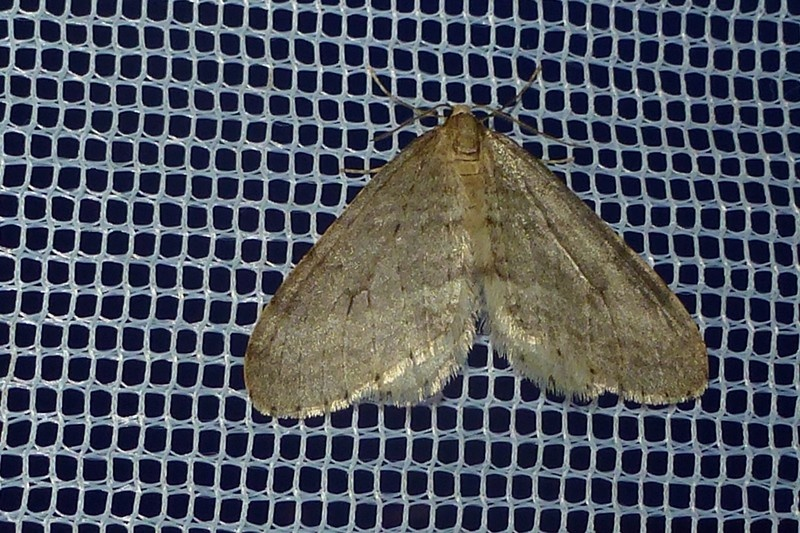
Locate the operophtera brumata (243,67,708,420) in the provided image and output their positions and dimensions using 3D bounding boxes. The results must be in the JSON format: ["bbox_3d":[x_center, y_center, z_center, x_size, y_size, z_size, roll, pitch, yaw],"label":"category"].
[{"bbox_3d":[0.436,-0.275,7.377,2.554,0.366,1.992,1,63,-12],"label":"operophtera brumata"}]
